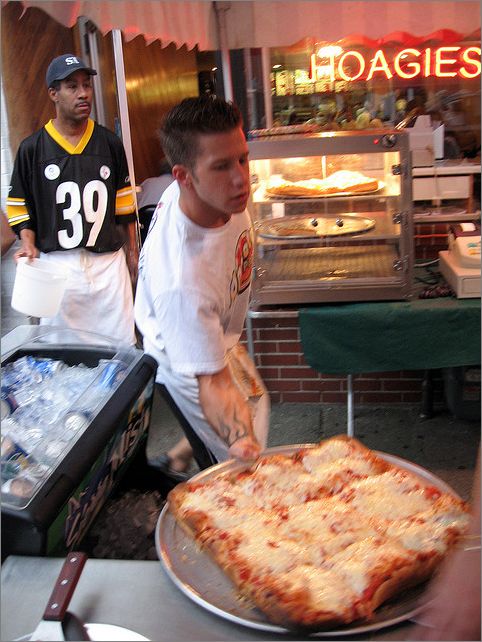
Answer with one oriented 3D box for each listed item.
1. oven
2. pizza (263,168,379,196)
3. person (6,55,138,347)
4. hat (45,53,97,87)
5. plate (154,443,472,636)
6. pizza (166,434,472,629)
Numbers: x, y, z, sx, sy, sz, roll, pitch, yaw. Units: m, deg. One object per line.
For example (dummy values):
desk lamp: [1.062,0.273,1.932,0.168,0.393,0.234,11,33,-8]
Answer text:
oven: [0.589,-0.709,3.370,1.134,1.102,0.790,-5,7,-1]
pizza: [0.541,-0.915,3.016,0.742,0.195,0.320,-6,12,3]
person: [-1.182,-0.772,3.131,0.862,2.008,0.419,-10,12,-14]
hat: [-1.149,-1.637,2.976,0.298,0.162,0.225,7,36,44]
plate: [0.107,0.334,0.797,0.482,0.035,0.513,1,14,30]
pizza: [0.127,0.336,0.781,0.412,0.052,0.428,-9,15,-18]
